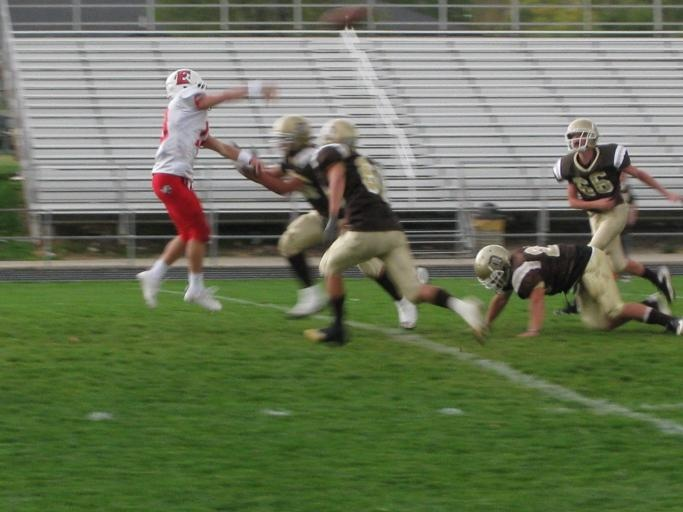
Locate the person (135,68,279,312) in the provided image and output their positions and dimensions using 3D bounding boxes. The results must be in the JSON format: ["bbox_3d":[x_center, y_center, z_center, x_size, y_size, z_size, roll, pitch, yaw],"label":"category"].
[{"bbox_3d":[-1.444,-0.664,14.490,1.278,2.503,0.743,-2,8,-6],"label":"person"}]

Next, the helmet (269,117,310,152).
[{"bbox_3d":[-0.478,-1.225,14.176,0.386,0.374,0.182,-1,8,-2],"label":"helmet"}]

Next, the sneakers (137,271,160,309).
[{"bbox_3d":[-1.948,0.339,14.639,0.278,0.379,0.171,-11,18,-4],"label":"sneakers"}]

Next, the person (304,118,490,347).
[{"bbox_3d":[0.387,-0.248,13.846,1.479,2.179,0.539,-1,8,0],"label":"person"}]
